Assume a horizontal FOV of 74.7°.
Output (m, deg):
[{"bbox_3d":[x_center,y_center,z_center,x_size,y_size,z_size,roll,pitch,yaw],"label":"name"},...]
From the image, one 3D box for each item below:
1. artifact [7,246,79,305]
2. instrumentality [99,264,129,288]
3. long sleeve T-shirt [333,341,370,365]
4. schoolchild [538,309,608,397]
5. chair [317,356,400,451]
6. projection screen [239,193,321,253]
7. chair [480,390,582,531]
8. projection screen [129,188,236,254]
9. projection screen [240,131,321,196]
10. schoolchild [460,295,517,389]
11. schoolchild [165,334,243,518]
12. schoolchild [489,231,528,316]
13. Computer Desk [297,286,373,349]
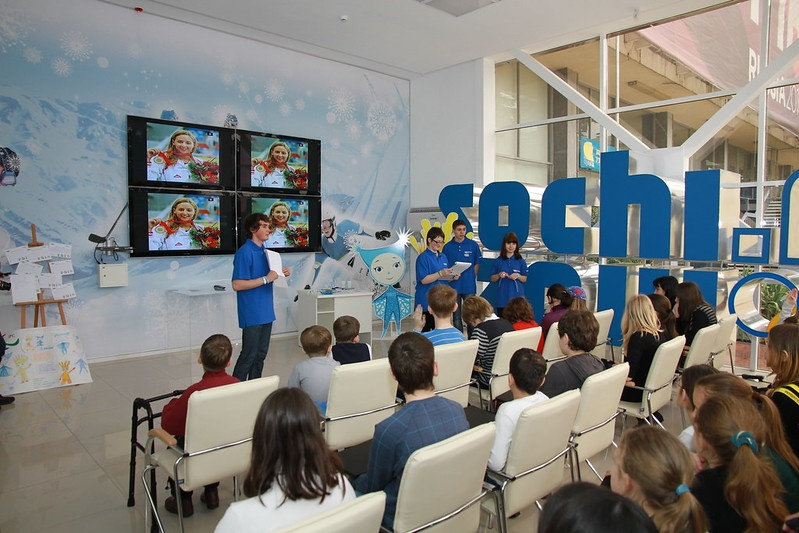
[{"bbox_3d":[-4.597,0.080,6.701,0.696,0.746,0.255,-1,4,-38],"label":"artifact"},{"bbox_3d":[-3.969,0.124,7.220,0.324,0.295,0.108,-1,3,-38],"label":"instrumentality"},{"bbox_3d":[-0.442,0.741,4.818,0.286,0.354,0.203,1,0,-6],"label":"long sleeve T-shirt"},{"bbox_3d":[1.458,0.728,4.373,0.755,0.682,0.379,-1,7,-25],"label":"schoolchild"},{"bbox_3d":[-0.331,1.046,4.413,0.666,0.864,0.688,-5,7,-33],"label":"chair"},{"bbox_3d":[-1.950,-0.689,8.672,1.414,0.965,0.124,-3,4,-35],"label":"projection screen"},{"bbox_3d":[0.909,1.323,3.569,0.576,0.957,0.292,-1,3,-29],"label":"chair"},{"bbox_3d":[-3.183,-0.647,7.790,1.613,0.986,0.031,-4,1,-44],"label":"projection screen"},{"bbox_3d":[-2.119,-1.702,8.613,1.569,0.954,0.125,15,19,39],"label":"projection screen"},{"bbox_3d":[0.772,0.784,5.369,0.742,1.073,0.755,1,22,8],"label":"schoolchild"},{"bbox_3d":[-1.643,1.278,4.332,0.530,1.433,0.680,15,12,31],"label":"schoolchild"},{"bbox_3d":[1.579,0.289,7.622,0.508,1.462,0.512,1,7,5],"label":"schoolchild"},{"bbox_3d":[-1.076,0.830,8.442,1.043,0.867,0.816,0,6,-31],"label":"Computer Desk"}]
